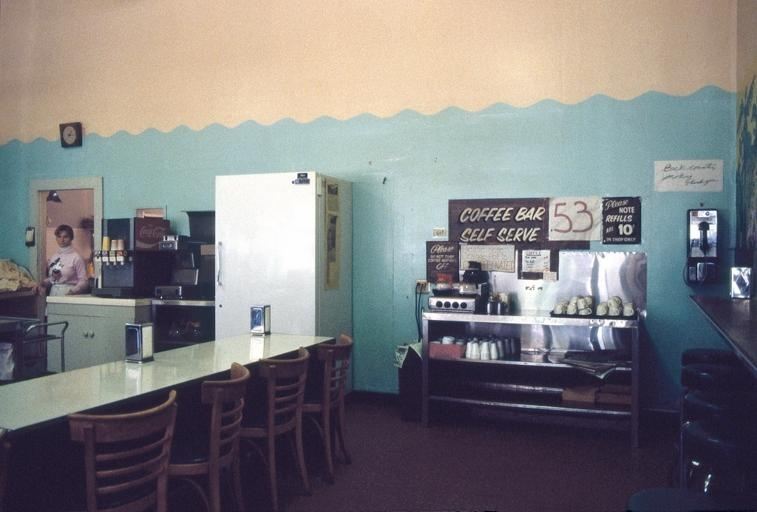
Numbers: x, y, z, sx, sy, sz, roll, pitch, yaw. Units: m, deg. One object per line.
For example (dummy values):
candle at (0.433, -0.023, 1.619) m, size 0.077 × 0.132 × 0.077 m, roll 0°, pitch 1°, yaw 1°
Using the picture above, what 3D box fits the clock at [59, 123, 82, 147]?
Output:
clock at (-4.353, -1.720, 8.745) m, size 0.352 × 0.343 × 0.104 m, roll 1°, pitch 0°, yaw 23°

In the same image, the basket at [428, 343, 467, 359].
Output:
basket at (0.740, 1.051, 6.705) m, size 0.272 × 0.118 × 0.198 m, roll -1°, pitch -3°, yaw 19°

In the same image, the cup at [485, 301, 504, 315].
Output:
cup at (1.274, 0.570, 6.651) m, size 0.141 × 0.140 × 0.146 m, roll 1°, pitch -6°, yaw 0°

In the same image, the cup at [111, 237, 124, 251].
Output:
cup at (-3.440, -0.147, 8.106) m, size 0.159 × 0.157 × 0.149 m, roll 0°, pitch 4°, yaw 0°

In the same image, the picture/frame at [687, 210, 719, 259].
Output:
picture/frame at (3.448, -0.234, 6.512) m, size 0.324 × 0.502 × 0.141 m, roll 6°, pitch 14°, yaw 25°

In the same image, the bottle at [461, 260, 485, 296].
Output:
bottle at (1.090, 0.232, 6.924) m, size 0.244 × 0.386 × 0.361 m, roll 1°, pitch 3°, yaw 16°

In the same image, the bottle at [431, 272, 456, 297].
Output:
bottle at (0.752, 0.328, 6.994) m, size 0.258 × 0.171 × 0.522 m, roll 1°, pitch 13°, yaw 5°

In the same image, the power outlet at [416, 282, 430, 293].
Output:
power outlet at (0.529, 0.377, 7.270) m, size 0.183 × 0.174 × 0.101 m, roll 0°, pitch -2°, yaw 26°

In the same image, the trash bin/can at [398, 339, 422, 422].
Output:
trash bin/can at (0.365, 1.418, 6.871) m, size 0.237 × 0.823 × 0.279 m, roll 0°, pitch 12°, yaw 0°

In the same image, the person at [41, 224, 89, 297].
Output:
person at (-4.414, 0.063, 8.631) m, size 0.781 × 0.972 × 0.376 m, roll 10°, pitch 16°, yaw 38°
